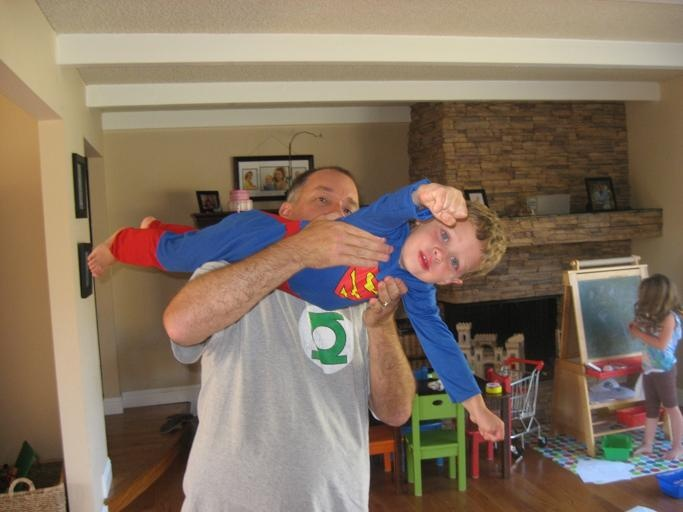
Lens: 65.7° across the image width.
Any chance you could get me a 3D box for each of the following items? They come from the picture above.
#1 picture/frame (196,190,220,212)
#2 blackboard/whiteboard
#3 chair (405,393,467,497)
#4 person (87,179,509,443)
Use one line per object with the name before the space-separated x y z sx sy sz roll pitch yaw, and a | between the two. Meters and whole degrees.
picture/frame | -1.333 -0.553 5.321 0.258 0.245 0.089 -3 0 -14
blackboard/whiteboard | 2.480 0.601 4.934 0.912 0.935 0.340 -1 -5 -25
chair | 0.760 1.547 4.479 0.515 0.777 0.524 -3 -6 4
person | -0.226 0.063 2.482 2.107 0.885 0.734 11 3 36
